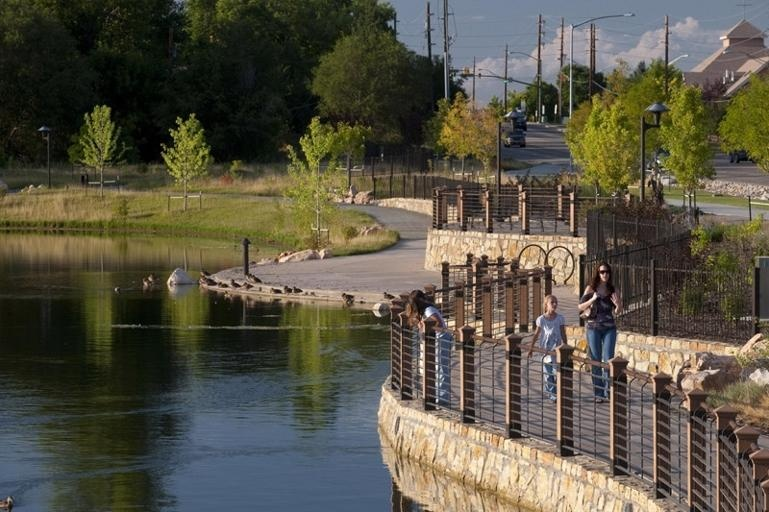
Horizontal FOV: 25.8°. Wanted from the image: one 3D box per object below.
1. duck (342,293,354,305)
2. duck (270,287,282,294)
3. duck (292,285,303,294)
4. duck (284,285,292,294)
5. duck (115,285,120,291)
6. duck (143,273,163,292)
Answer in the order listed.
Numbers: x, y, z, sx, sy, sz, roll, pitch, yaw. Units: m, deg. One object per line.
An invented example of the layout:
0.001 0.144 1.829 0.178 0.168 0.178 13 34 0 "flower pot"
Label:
-1.714 2.076 79.065 0.526 0.473 0.630 -2 5 -5 "duck"
-5.221 1.766 80.970 0.197 0.296 0.654 5 4 32 "duck"
-4.158 1.688 80.674 0.431 0.225 0.595 -2 5 -3 "duck"
-4.634 1.697 80.748 0.237 0.352 0.443 0 4 13 "duck"
-13.153 1.677 82.634 0.195 0.276 0.206 2 7 29 "duck"
-11.647 1.429 84.143 0.669 1.234 1.148 1 -3 38 "duck"
